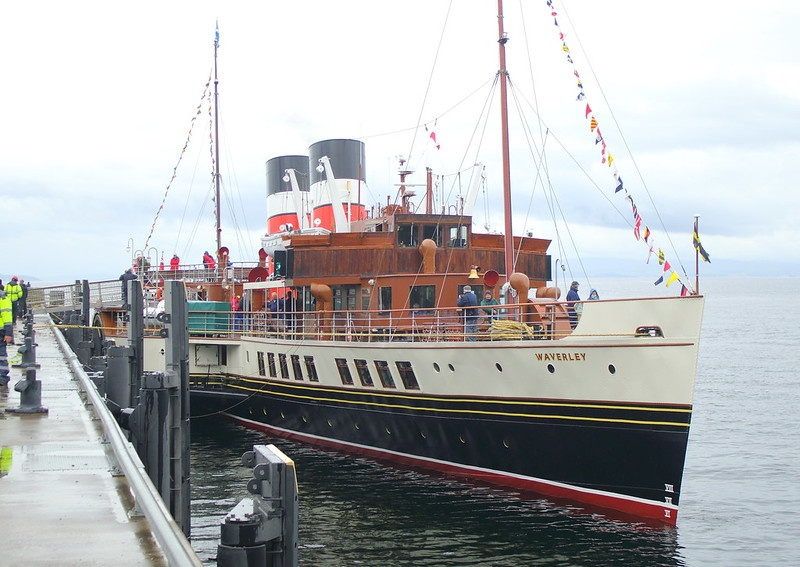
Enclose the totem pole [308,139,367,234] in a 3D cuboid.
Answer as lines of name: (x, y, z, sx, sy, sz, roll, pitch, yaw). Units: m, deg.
totem pole: (-3.859, -4.997, 50.593, 2.988, 4.763, 2.897, 15, 6, 22)
